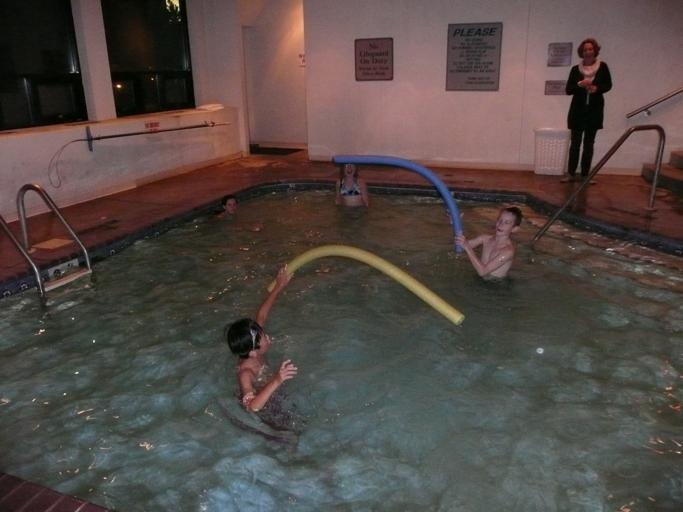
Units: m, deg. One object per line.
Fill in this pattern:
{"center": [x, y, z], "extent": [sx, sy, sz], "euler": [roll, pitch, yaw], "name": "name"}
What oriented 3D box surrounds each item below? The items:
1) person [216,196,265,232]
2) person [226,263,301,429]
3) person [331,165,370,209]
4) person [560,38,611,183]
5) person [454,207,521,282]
{"center": [-1.596, -0.751, 7.483], "extent": [0.741, 0.299, 0.537], "euler": [21, 35, 31], "name": "person"}
{"center": [-0.675, 0.818, 4.251], "extent": [0.388, 1.095, 0.625], "euler": [-6, 52, 0], "name": "person"}
{"center": [0.189, -1.166, 7.881], "extent": [0.468, 0.762, 0.491], "euler": [-7, 22, -16], "name": "person"}
{"center": [4.317, -2.569, 8.612], "extent": [0.708, 2.382, 0.621], "euler": [9, 23, 24], "name": "person"}
{"center": [1.687, -0.142, 5.499], "extent": [0.573, 0.900, 0.891], "euler": [7, 22, 20], "name": "person"}
